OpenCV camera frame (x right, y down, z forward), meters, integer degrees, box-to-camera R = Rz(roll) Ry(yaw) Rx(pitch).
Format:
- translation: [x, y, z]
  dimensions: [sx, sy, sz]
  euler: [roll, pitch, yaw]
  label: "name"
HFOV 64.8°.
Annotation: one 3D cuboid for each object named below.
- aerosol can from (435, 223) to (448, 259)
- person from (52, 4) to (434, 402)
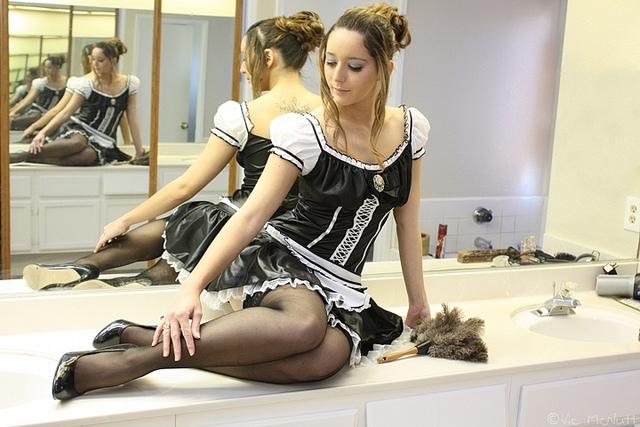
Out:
- translation: [0.500, 0.115, 2.079]
  dimensions: [0.047, 0.146, 0.012]
  euler: [1, 5, -29]
  label: "aerosol can"
- translation: [-0.097, -0.058, 1.561]
  dimensions: [1.139, 1.202, 0.369]
  euler: [2, 5, -23]
  label: "person"
